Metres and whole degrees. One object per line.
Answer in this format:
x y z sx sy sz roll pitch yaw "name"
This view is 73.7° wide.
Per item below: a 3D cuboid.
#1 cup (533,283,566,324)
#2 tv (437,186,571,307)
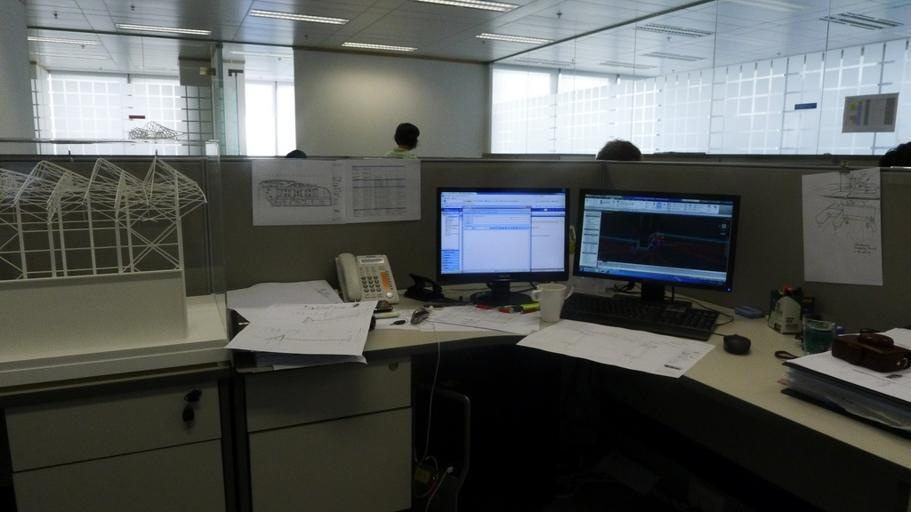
0.429 0.221 2.924 0.223 0.148 0.143 -4 11 -26 "cup"
0.244 -0.068 3.118 0.699 0.521 0.273 0 1 -3 "tv"
